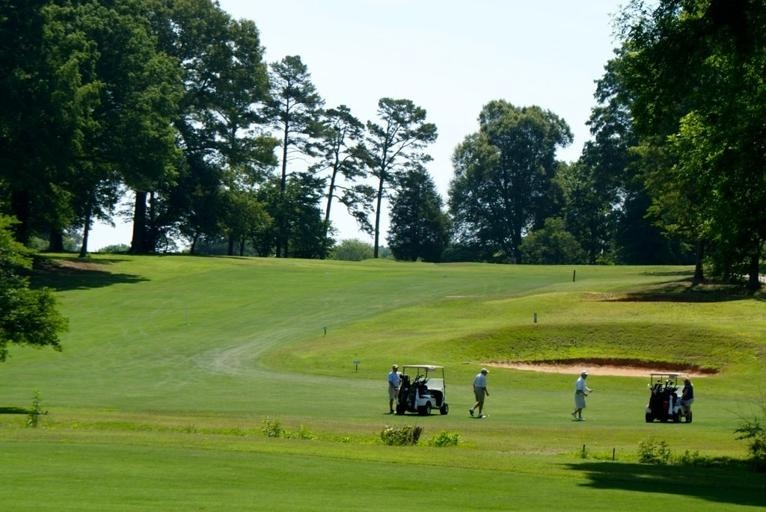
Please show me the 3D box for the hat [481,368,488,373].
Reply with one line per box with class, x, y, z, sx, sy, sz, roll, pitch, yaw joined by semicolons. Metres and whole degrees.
hat;5.702;6.298;70.627;0.374;0.169;0.549;3;-1;18
